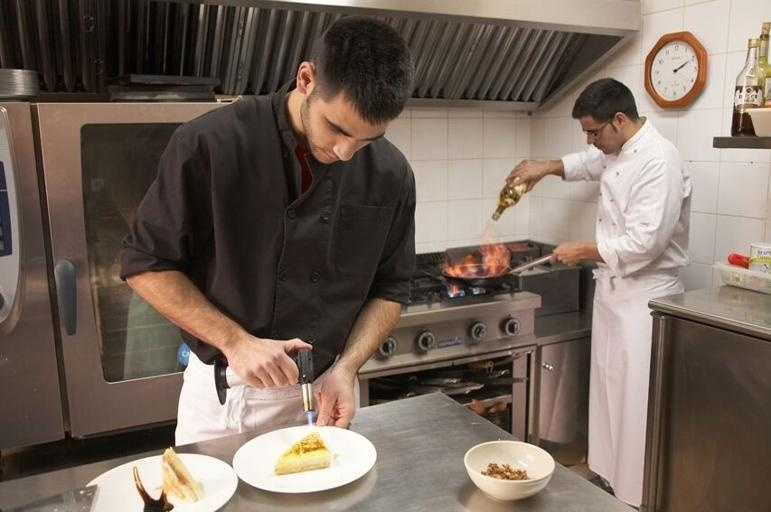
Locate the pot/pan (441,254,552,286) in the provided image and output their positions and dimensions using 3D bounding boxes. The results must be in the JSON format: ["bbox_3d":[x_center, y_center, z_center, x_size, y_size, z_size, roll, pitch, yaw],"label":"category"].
[{"bbox_3d":[0.631,0.099,3.115,0.439,0.058,0.252,-6,7,-20],"label":"pot/pan"}]

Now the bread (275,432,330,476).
[{"bbox_3d":[-0.228,0.557,1.522,0.110,0.032,0.094,-18,32,-30],"label":"bread"}]

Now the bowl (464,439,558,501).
[{"bbox_3d":[0.340,0.594,1.513,0.225,0.088,0.220,-1,11,0],"label":"bowl"}]

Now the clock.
[{"bbox_3d":[1.693,-1.067,3.152,0.045,0.532,0.491,-4,12,-39],"label":"clock"}]

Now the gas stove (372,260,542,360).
[{"bbox_3d":[0.327,0.240,3.150,0.602,0.231,0.559,-4,7,-26],"label":"gas stove"}]

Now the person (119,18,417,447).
[{"bbox_3d":[-0.336,-0.082,1.704,0.927,1.205,0.440,-3,11,-6],"label":"person"}]

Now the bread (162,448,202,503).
[{"bbox_3d":[-0.524,0.568,1.409,0.115,0.115,0.028,-17,3,-44],"label":"bread"}]
